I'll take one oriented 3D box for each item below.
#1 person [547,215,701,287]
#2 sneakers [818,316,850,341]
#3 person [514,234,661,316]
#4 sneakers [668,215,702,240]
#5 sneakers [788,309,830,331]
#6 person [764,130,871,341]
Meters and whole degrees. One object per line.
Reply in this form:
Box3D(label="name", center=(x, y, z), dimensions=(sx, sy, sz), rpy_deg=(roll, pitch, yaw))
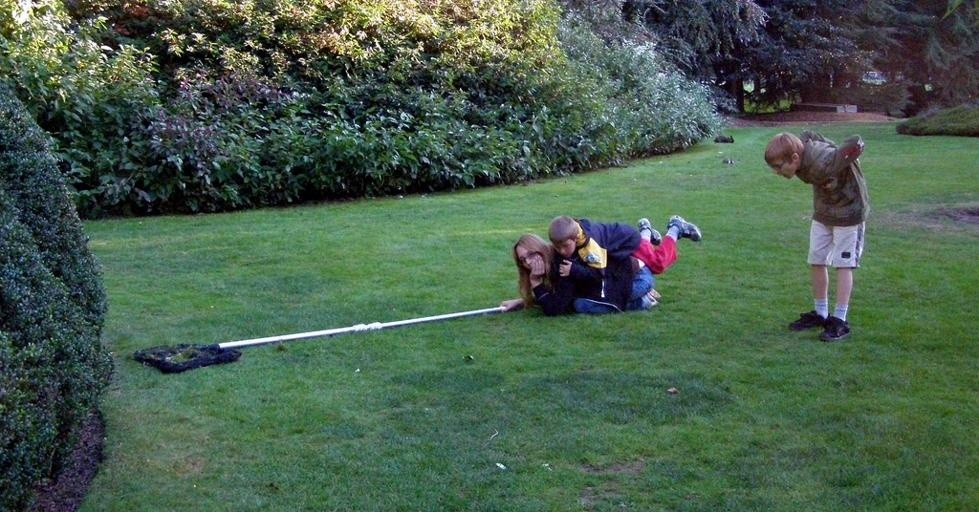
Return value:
Box3D(label="person", center=(1.377, -0.094, 6.797), dimensions=(1.681, 0.526, 0.716), rpy_deg=(-4, 9, -16))
Box3D(label="sneakers", center=(3.089, 0.668, 6.029), dimensions=(0.153, 0.137, 0.370), rpy_deg=(1, 2, 40))
Box3D(label="person", center=(0.929, 0.226, 6.754), dimensions=(1.436, 0.526, 0.688), rpy_deg=(-2, -1, -4))
Box3D(label="sneakers", center=(2.239, -0.314, 7.703), dimensions=(0.478, 0.161, 0.202), rpy_deg=(28, 32, 1))
Box3D(label="sneakers", center=(2.951, 0.616, 6.205), dimensions=(0.394, 0.153, 0.143), rpy_deg=(-1, 0, -1))
Box3D(label="person", center=(3.013, -0.206, 6.110), dimensions=(0.753, 1.854, 0.669), rpy_deg=(-3, 11, 26))
